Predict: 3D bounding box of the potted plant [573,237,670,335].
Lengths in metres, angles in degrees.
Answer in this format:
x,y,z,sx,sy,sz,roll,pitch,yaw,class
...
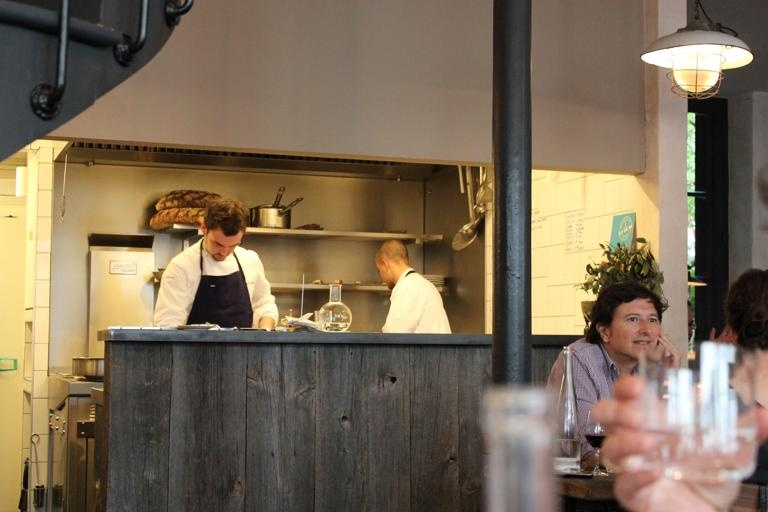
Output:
x,y,z,sx,sy,sz,roll,pitch,yaw,class
1.333,0.084,5.860,0.524,0.798,0.622,-1,-10,11,potted plant

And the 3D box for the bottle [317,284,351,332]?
x,y,z,sx,sy,sz,roll,pitch,yaw,class
-0.249,0.260,5.360,0.170,0.249,0.300,-3,-6,22,bottle

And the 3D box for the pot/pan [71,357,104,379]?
x,y,z,sx,sy,sz,roll,pitch,yaw,class
-1.861,0.684,6.485,0.200,0.106,0.188,3,-5,7,pot/pan

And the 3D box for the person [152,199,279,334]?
x,y,z,sx,sy,sz,roll,pitch,yaw,class
-0.920,0.057,6.067,0.505,0.716,0.838,-4,-6,35,person

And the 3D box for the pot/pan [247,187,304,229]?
x,y,z,sx,sy,sz,roll,pitch,yaw,class
-0.797,-0.338,7.281,0.244,0.165,0.412,5,-6,-30,pot/pan

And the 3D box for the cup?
x,y,z,sx,sy,sz,roll,pitch,yaw,class
0.817,0.402,2.686,0.319,0.362,0.146,-1,-5,6,cup
